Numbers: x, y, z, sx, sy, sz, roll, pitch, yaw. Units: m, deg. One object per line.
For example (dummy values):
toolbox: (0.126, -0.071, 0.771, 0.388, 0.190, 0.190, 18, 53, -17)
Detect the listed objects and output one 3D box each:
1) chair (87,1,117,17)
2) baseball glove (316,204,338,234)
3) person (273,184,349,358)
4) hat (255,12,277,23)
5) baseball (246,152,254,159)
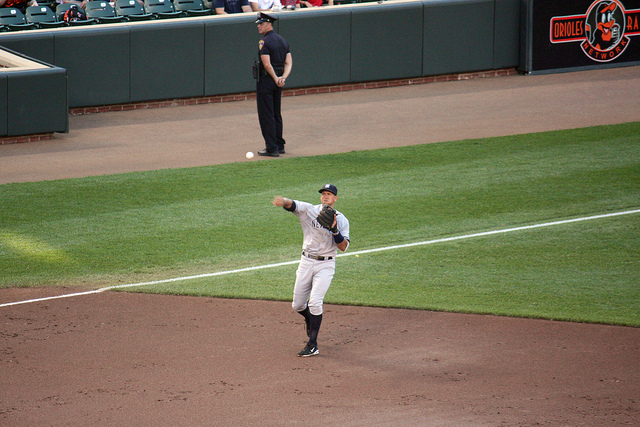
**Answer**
chair: (-5.068, -4.716, 27.462, 0.698, 0.369, 0.410, -5, 10, -24)
baseball glove: (0.104, 0.062, 15.835, 0.183, 0.311, 0.252, -27, -1, -38)
person: (-0.084, 0.769, 16.123, 0.786, 2.278, 0.770, 4, 11, 28)
hat: (-1.007, -3.645, 22.157, 0.302, 0.114, 0.247, -4, 7, -35)
baseball: (-1.328, -1.102, 22.559, 0.128, 0.096, 0.113, 5, 1, -7)
